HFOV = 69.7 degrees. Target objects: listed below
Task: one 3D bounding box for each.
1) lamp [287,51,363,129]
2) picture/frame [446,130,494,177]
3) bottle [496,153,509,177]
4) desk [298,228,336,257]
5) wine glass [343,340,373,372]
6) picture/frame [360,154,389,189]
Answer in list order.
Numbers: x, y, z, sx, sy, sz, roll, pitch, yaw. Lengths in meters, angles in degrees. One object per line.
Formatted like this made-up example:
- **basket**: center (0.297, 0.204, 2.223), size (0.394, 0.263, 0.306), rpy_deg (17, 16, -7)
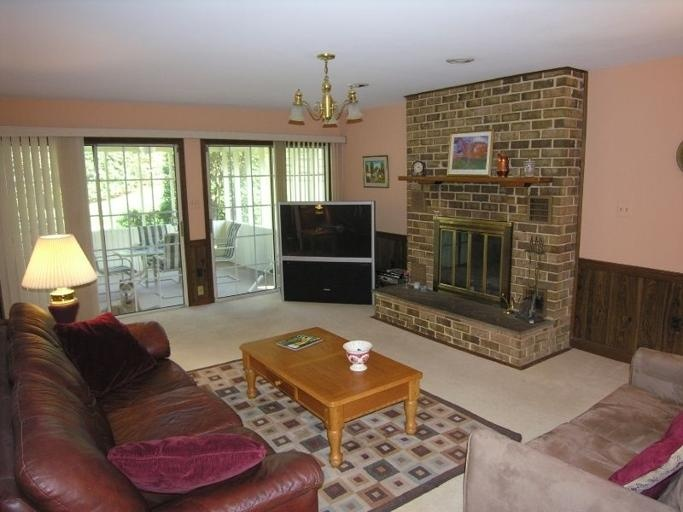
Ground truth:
- **lamp**: center (-0.154, -1.471, 4.318), size (0.799, 0.600, 0.663), rpy_deg (2, 17, 9)
- **picture/frame**: center (1.423, -1.143, 5.434), size (0.044, 0.484, 0.601), rpy_deg (-6, 12, -36)
- **bottle**: center (1.672, -0.940, 5.077), size (0.115, 0.229, 0.116), rpy_deg (-3, 11, 1)
- **desk**: center (-0.326, -0.266, 6.937), size (0.392, 0.338, 0.540), rpy_deg (-6, 11, -27)
- **wine glass**: center (0.120, 0.761, 3.863), size (0.224, 0.162, 0.224), rpy_deg (-11, 17, -30)
- **picture/frame**: center (0.512, -1.244, 7.296), size (0.489, 0.453, 0.016), rpy_deg (10, 20, 41)
